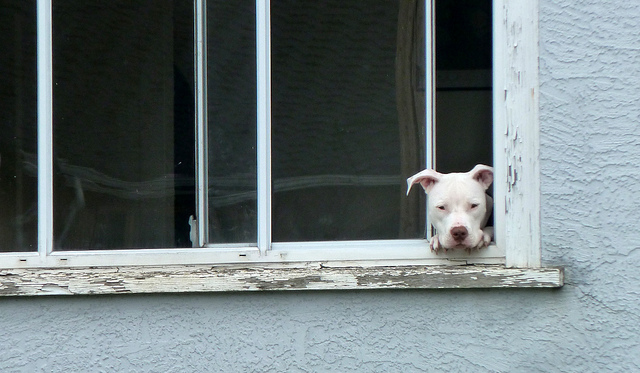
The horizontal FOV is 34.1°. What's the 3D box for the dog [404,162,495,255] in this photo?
[{"bbox_3d":[1.021,0.123,8.061,0.754,0.585,1.048,-3,8,4],"label":"dog"}]
